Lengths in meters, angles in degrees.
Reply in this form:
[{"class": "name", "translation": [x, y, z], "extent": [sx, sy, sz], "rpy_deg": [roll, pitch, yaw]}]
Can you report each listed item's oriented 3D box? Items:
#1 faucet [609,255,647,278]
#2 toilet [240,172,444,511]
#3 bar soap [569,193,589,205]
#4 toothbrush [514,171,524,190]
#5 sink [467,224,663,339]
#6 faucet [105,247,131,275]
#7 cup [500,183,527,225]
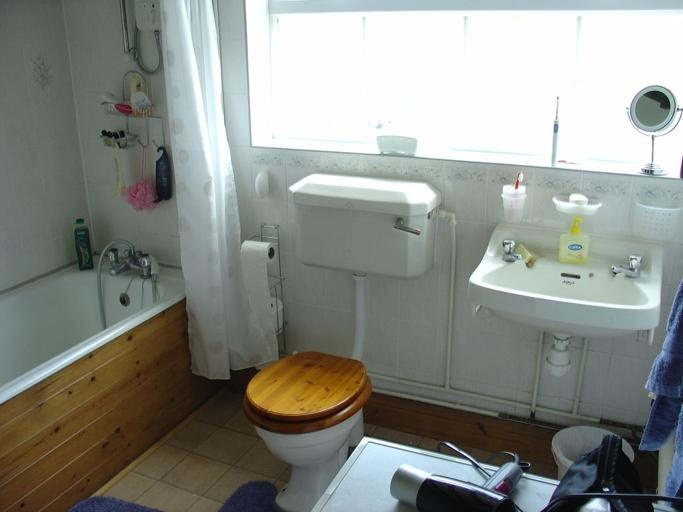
[{"class": "faucet", "translation": [1.133, 0.034, 2.173], "extent": [0.132, 0.100, 0.070], "rpy_deg": [4, 20, 23]}, {"class": "toilet", "translation": [0.003, 0.371, 2.410], "extent": [0.632, 1.313, 0.880], "rpy_deg": [7, 20, 21]}, {"class": "bar soap", "translation": [0.960, -0.225, 2.207], "extent": [0.069, 0.033, 0.075], "rpy_deg": [7, 20, 20]}, {"class": "toothbrush", "translation": [0.765, -0.325, 2.348], "extent": [0.022, 0.088, 0.025], "rpy_deg": [31, -13, -33]}, {"class": "sink", "translation": [0.912, 0.160, 2.182], "extent": [0.734, 0.410, 0.524], "rpy_deg": [7, 20, 20]}, {"class": "faucet", "translation": [-1.212, 0.030, 2.936], "extent": [0.153, 0.162, 0.100], "rpy_deg": [8, 11, 19]}, {"class": "cup", "translation": [0.748, -0.228, 2.352], "extent": [0.101, 0.143, 0.104], "rpy_deg": [-5, 29, 3]}]
